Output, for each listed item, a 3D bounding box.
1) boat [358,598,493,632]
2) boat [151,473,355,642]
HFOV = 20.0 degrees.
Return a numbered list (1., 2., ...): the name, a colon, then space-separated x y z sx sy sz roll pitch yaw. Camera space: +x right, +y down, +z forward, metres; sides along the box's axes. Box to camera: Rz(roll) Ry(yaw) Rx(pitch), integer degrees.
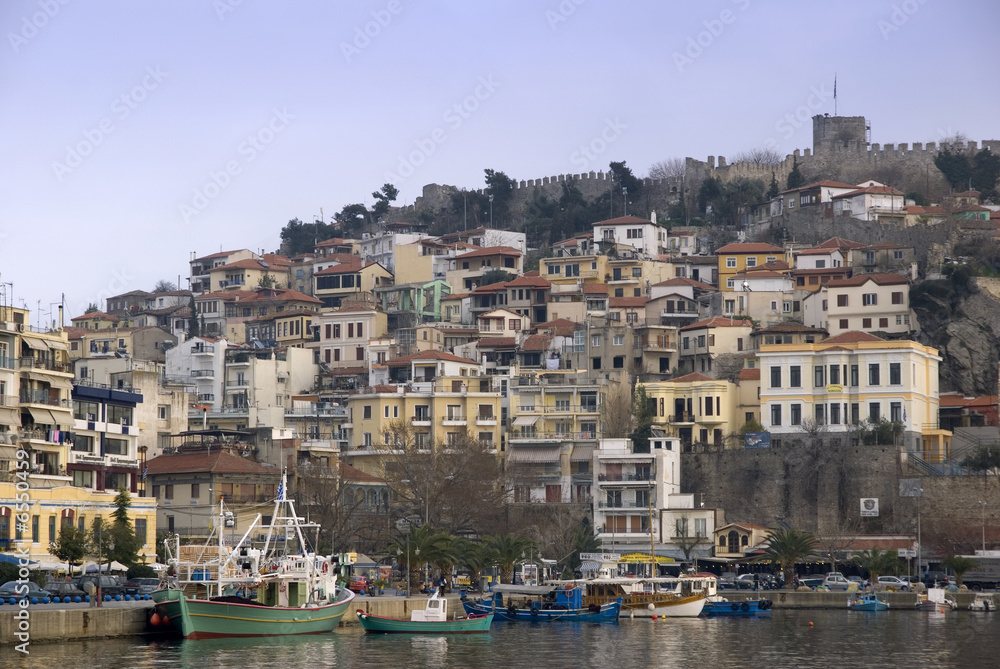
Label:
1. boat: -5.200 18.782 190.513 8.417 2.542 2.005 1 -9 -12
2. boat: -15.932 16.146 190.745 7.097 9.549 18.969 1 -1 35
